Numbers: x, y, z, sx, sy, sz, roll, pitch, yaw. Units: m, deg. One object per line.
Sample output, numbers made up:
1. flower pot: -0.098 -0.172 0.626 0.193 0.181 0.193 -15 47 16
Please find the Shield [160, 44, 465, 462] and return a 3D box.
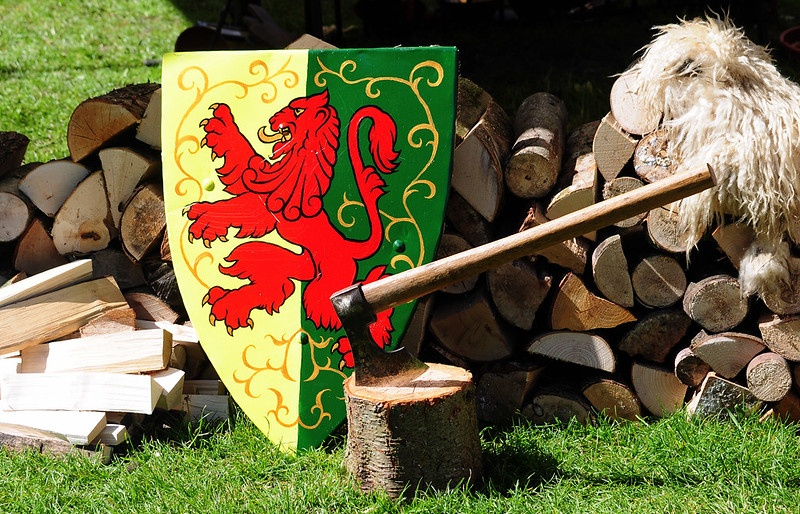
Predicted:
1. Shield: -0.500 -0.050 6.380 2.075 2.963 0.241 -1 -3 1
